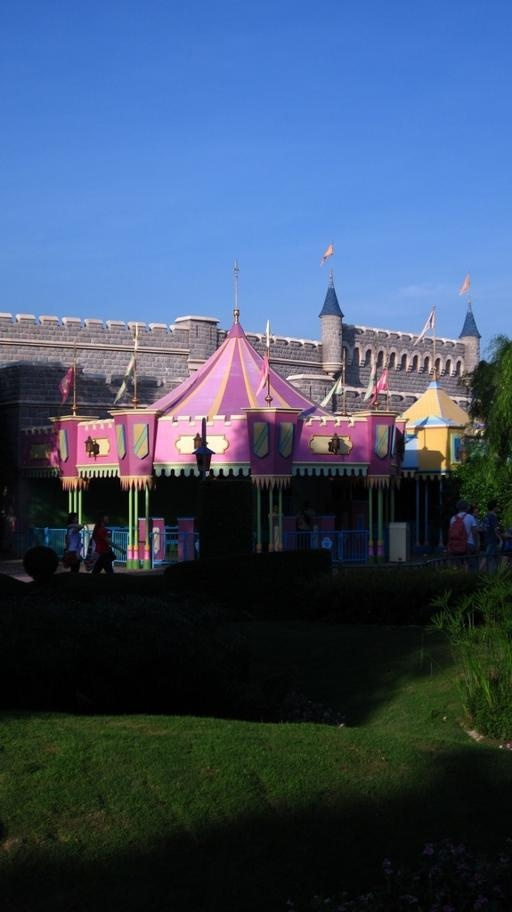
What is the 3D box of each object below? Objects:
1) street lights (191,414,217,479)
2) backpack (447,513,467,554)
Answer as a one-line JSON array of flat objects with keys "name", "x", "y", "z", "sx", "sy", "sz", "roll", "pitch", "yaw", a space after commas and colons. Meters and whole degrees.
[{"name": "street lights", "x": -0.752, "y": -0.125, "z": 16.649, "sx": 0.294, "sy": 0.736, "sz": 0.287, "roll": 0, "pitch": -2, "yaw": 36}, {"name": "backpack", "x": 2.296, "y": 0.964, "z": 13.498, "sx": 0.209, "sy": 0.447, "sz": 0.633, "roll": 2, "pitch": 12, "yaw": 10}]
